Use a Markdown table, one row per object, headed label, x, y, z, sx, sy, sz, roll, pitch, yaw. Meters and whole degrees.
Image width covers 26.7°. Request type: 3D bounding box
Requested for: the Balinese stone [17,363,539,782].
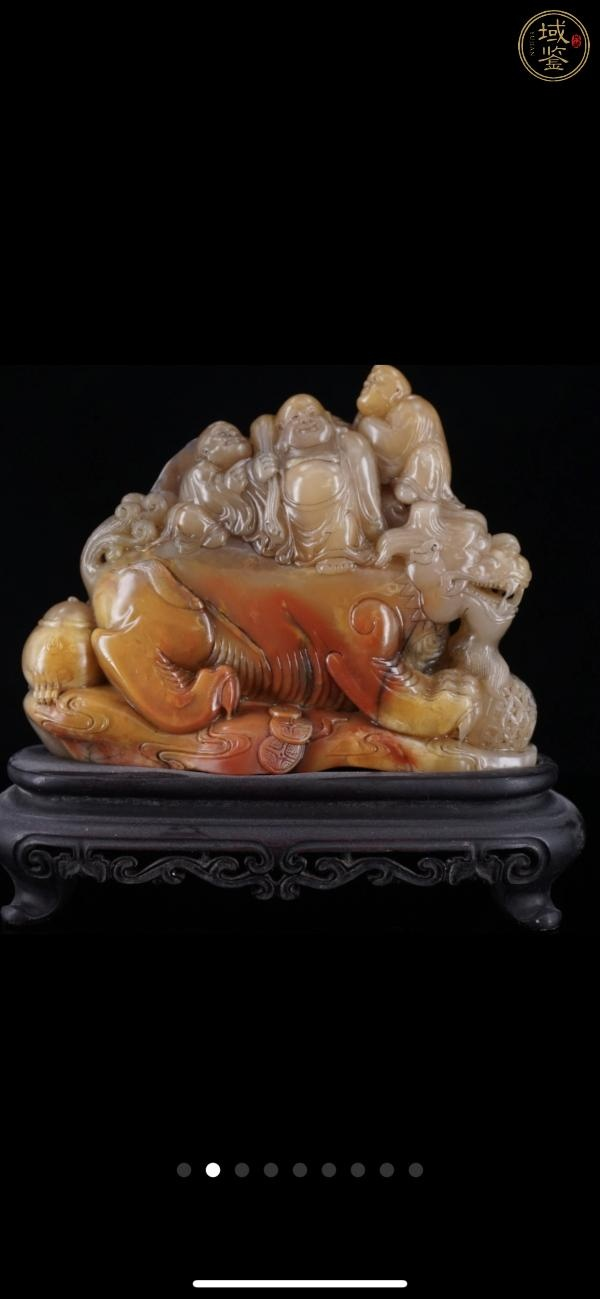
| label | x | y | z | sx | sy | sz | roll | pitch | yaw |
| --- | --- | --- | --- | --- | --- | --- | --- | --- | --- |
| Balinese stone | -0.039 | -0.180 | 3.361 | 1.342 | 1.081 | 0.373 | 2 | 10 | -2 |
